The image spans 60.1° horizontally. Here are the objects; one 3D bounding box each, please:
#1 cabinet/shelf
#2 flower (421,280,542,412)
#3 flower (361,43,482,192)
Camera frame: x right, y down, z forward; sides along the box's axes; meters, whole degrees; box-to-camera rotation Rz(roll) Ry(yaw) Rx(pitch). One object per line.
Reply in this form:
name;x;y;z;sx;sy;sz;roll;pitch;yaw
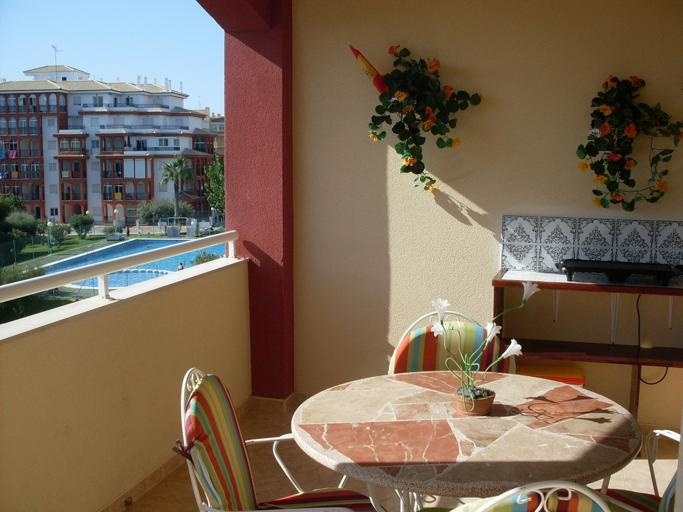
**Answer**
cabinet/shelf;1.480;0.506;3.430;0.842;0.872;0.260;2;13;14
flower;0.571;0.404;2.503;0.429;0.561;0.371;4;-7;-7
flower;0.481;-0.890;3.812;0.800;0.937;0.245;2;13;12
